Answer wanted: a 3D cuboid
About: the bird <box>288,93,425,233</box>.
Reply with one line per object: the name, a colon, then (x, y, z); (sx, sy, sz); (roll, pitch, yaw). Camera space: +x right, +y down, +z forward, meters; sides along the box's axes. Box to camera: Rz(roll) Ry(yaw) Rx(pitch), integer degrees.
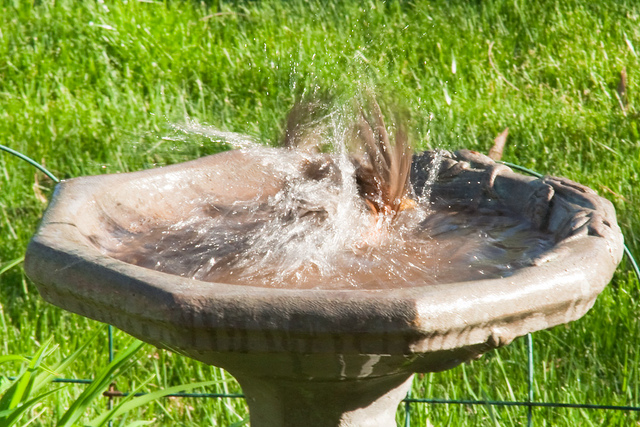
bird: (0.214, -0.225, 4.843); (0.357, 0.365, 0.603); (-13, 35, -28)
